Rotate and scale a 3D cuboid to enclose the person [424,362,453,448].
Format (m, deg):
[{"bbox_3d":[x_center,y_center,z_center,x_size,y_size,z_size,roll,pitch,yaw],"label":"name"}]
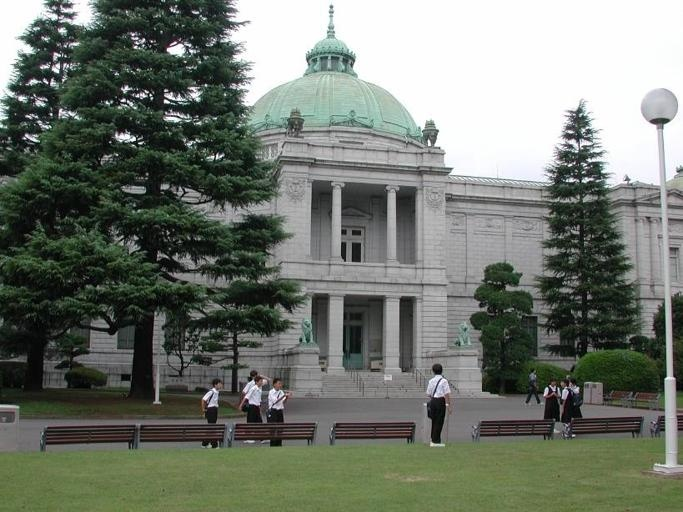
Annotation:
[{"bbox_3d":[3.303,5.125,39.838,0.925,2.526,1.110,0,-5,0],"label":"person"}]

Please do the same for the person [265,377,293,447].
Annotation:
[{"bbox_3d":[-2.052,5.372,40.867,0.744,2.198,0.882,0,-6,-22],"label":"person"}]

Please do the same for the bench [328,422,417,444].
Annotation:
[{"bbox_3d":[1.114,6.118,40.550,2.910,0.722,0.847,1,-7,-3],"label":"bench"}]

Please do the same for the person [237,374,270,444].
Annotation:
[{"bbox_3d":[-3.141,5.308,41.286,1.068,2.275,0.836,-2,-4,21],"label":"person"}]

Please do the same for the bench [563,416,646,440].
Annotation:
[{"bbox_3d":[9.656,6.204,42.678,3.020,0.712,0.832,3,-7,-21],"label":"bench"}]

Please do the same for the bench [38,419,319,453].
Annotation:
[{"bbox_3d":[-5.559,6.025,39.408,8.743,0.873,1.797,2,-7,-12],"label":"bench"}]
